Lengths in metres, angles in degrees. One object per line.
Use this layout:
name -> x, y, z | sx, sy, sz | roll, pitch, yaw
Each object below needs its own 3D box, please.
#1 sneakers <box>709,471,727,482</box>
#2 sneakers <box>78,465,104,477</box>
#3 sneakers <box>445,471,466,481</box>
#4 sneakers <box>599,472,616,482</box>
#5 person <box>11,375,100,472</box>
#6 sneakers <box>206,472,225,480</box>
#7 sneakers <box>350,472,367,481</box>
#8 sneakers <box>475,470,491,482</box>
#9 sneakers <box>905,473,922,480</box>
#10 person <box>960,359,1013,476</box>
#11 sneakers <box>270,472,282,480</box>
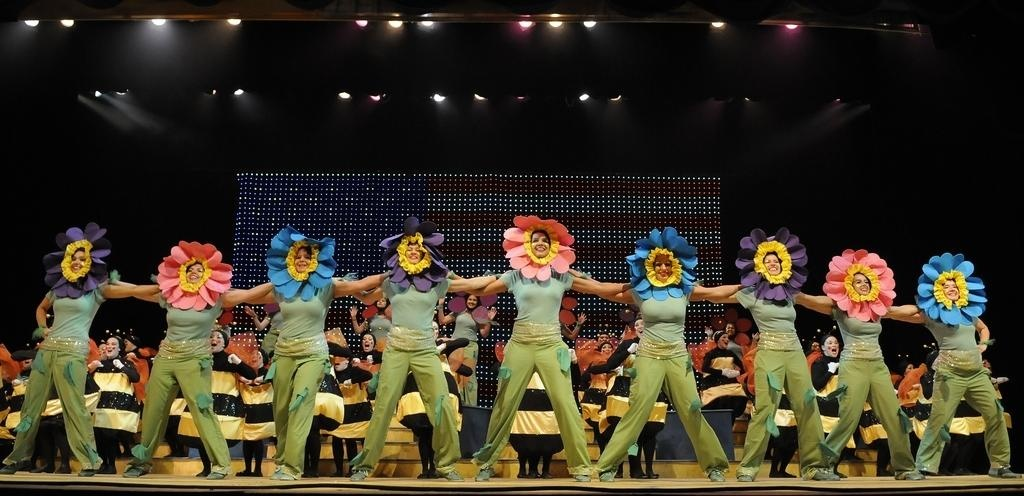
sneakers -> 3.373, 3.792, 15.215 | 0.260, 0.178, 0.135 | 1, -10, 9
sneakers -> -7.079, 3.804, 15.526 | 0.303, 0.130, 0.303 | 5, -10, -22
sneakers -> -0.921, 3.790, 15.158 | 0.149, 0.093, 0.274 | 14, -22, -39
sneakers -> 1.569, 3.807, 15.159 | 0.308, 0.093, 0.114 | 2, -34, -21
person -> -7.688, 2.866, 15.669 | 1.531, 1.878, 0.537 | 0, -11, 13
sneakers -> -4.835, 3.801, 15.169 | 0.229, 0.076, 0.121 | 9, -23, -14
sneakers -> -2.479, 3.775, 15.085 | 0.225, 0.077, 0.133 | 13, -21, -33
sneakers -> -0.458, 3.780, 15.185 | 0.260, 0.172, 0.224 | 3, -10, -6
sneakers -> 6.748, 3.879, 15.488 | 0.238, 0.083, 0.121 | 4, -10, -22
person -> 8.122, 2.962, 15.858 | 0.887, 1.950, 0.386 | 10, -13, -35
sneakers -> -3.841, 3.741, 15.038 | 0.161, 0.126, 0.075 | -4, -12, 34
